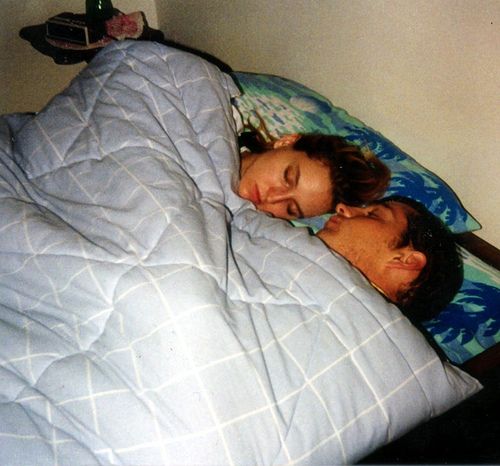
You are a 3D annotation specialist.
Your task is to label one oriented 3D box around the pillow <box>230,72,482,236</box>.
[{"bbox_3d":[0.367,-0.354,1.846,0.811,0.453,0.131,33,79,27],"label":"pillow"}]
